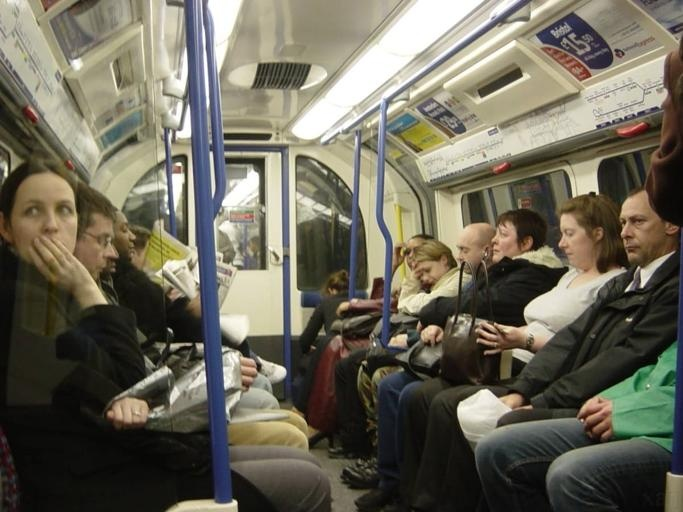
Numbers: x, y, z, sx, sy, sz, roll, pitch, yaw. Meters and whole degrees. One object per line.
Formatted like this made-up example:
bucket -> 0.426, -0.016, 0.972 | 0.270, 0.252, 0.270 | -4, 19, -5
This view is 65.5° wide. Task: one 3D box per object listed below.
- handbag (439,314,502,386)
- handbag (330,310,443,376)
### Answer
handbag -> 0.710, 0.483, 2.959 | 0.247, 0.476, 0.345 | 7, -6, -28
handbag -> 0.345, 0.682, 3.774 | 0.610, 0.251, 0.373 | -18, 8, -7
